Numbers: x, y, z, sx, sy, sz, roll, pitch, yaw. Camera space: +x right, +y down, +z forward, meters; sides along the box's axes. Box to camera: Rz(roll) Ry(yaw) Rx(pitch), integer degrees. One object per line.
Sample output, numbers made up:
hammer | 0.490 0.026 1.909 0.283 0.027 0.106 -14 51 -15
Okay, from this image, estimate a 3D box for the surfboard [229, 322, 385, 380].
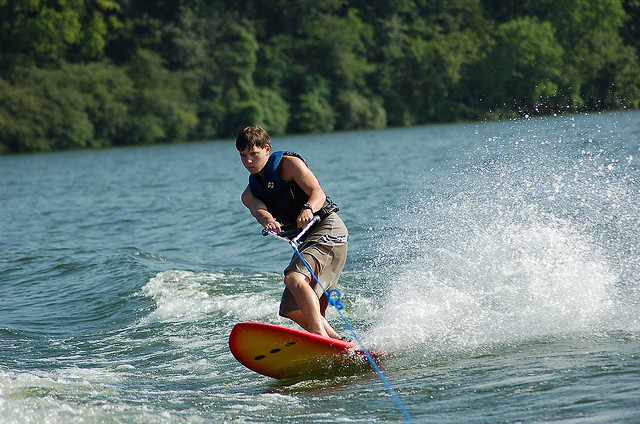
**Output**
surfboard | -0.447 2.996 24.083 0.544 1.350 4.332 31 -16 -31
